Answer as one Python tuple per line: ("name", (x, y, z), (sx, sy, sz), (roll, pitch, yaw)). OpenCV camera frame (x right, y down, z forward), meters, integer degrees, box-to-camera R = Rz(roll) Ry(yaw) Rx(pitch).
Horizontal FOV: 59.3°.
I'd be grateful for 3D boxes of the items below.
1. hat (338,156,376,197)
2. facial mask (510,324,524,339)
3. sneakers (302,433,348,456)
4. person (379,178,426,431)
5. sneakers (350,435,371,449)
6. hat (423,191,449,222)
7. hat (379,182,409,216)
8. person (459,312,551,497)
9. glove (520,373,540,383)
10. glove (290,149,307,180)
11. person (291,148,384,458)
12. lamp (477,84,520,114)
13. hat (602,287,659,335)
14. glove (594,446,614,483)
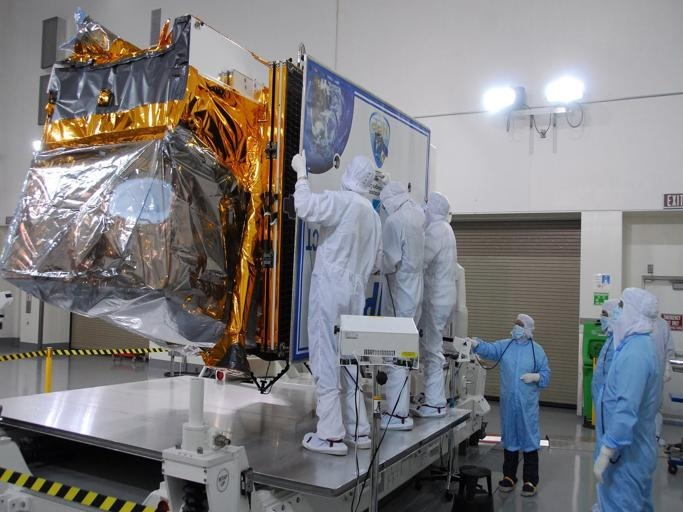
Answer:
("hat", (0.118, -0.740, 5.334), (0.259, 0.344, 0.324), (16, 7, -12))
("facial mask", (1.835, 0.797, 6.254), (0.124, 0.095, 0.111), (23, -12, -27))
("sneakers", (-0.139, 1.524, 4.838), (0.306, 0.143, 0.157), (4, -3, 42))
("person", (0.556, 0.432, 5.850), (0.461, 2.343, 0.811), (2, 0, 8))
("sneakers", (0.160, 1.534, 4.967), (0.170, 0.118, 0.174), (3, 0, -11))
("hat", (1.072, -0.556, 6.665), (0.281, 0.341, 0.273), (-6, 8, -27))
("hat", (0.561, -0.594, 6.072), (0.308, 0.351, 0.243), (8, 7, 39))
("person", (1.773, 1.506, 6.257), (0.714, 1.730, 0.536), (2, 0, 19))
("glove", (1.903, 1.227, 6.011), (0.201, 0.101, 0.073), (3, 0, -18))
("glove", (-0.349, -0.763, 4.999), (0.056, 0.217, 0.143), (5, -6, -23))
("person", (-0.078, 0.345, 5.066), (0.752, 2.487, 0.619), (2, 0, 3))
("lamp", (2.546, -2.540, 9.674), (0.416, 0.473, 0.101), (24, 11, 28))
("hat", (2.222, 0.450, 4.644), (0.321, 0.499, 0.325), (10, -8, 24))
("glove", (1.915, 1.524, 4.385), (0.127, 0.258, 0.272), (2, 0, 25))
